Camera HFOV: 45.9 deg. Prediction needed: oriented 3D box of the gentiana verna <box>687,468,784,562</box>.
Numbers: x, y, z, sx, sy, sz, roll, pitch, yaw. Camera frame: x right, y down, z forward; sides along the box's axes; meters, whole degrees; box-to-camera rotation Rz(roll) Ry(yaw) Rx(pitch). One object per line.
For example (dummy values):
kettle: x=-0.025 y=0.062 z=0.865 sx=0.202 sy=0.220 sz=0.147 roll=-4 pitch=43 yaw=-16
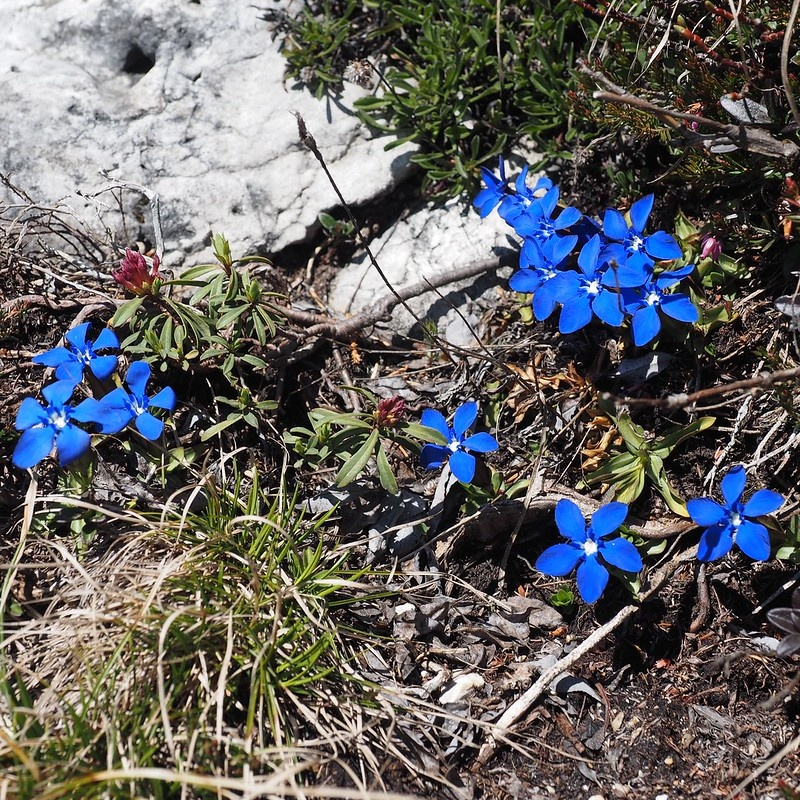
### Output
gentiana verna: x=1.089 y=0.337 z=3.012 sx=0.243 sy=0.066 sz=0.244 roll=-25 pitch=21 yaw=-39

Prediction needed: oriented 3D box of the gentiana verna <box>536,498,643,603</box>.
gentiana verna: x=0.590 y=0.447 z=3.058 sx=0.360 sy=0.083 sz=0.309 roll=-13 pitch=31 yaw=19

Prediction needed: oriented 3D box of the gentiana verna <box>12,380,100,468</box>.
gentiana verna: x=-1.121 y=0.069 z=3.212 sx=0.397 sy=0.081 sz=0.301 roll=-11 pitch=46 yaw=-16

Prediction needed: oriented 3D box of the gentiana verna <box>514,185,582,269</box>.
gentiana verna: x=0.559 y=-0.625 z=3.467 sx=0.099 sy=0.292 sz=0.328 roll=-47 pitch=27 yaw=-6
